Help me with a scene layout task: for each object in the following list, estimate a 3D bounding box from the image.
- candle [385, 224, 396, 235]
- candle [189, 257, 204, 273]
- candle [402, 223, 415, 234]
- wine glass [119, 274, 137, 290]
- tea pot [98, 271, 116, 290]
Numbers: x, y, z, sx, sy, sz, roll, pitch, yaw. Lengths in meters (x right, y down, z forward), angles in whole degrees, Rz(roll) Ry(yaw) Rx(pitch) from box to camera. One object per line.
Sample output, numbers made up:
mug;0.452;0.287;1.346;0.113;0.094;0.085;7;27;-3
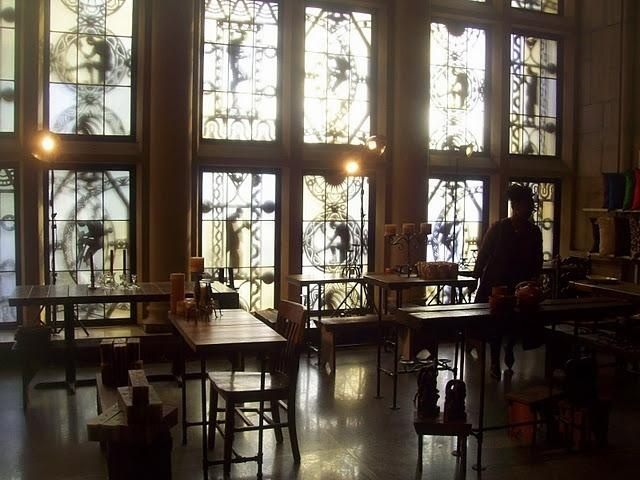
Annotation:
candle;0.784;-0.124;6.892;0.113;0.093;0.117;-1;3;-4
candle;-1.057;0.210;5.354;0.106;0.135;0.065;1;9;3
candle;0.990;-0.134;6.933;0.130;0.107;0.137;0;0;5
wine glass;-2.081;0.456;6.775;0.133;0.145;0.145;3;1;11
tea pot;-2.269;0.454;6.676;0.119;0.267;0.361;9;-20;-24
